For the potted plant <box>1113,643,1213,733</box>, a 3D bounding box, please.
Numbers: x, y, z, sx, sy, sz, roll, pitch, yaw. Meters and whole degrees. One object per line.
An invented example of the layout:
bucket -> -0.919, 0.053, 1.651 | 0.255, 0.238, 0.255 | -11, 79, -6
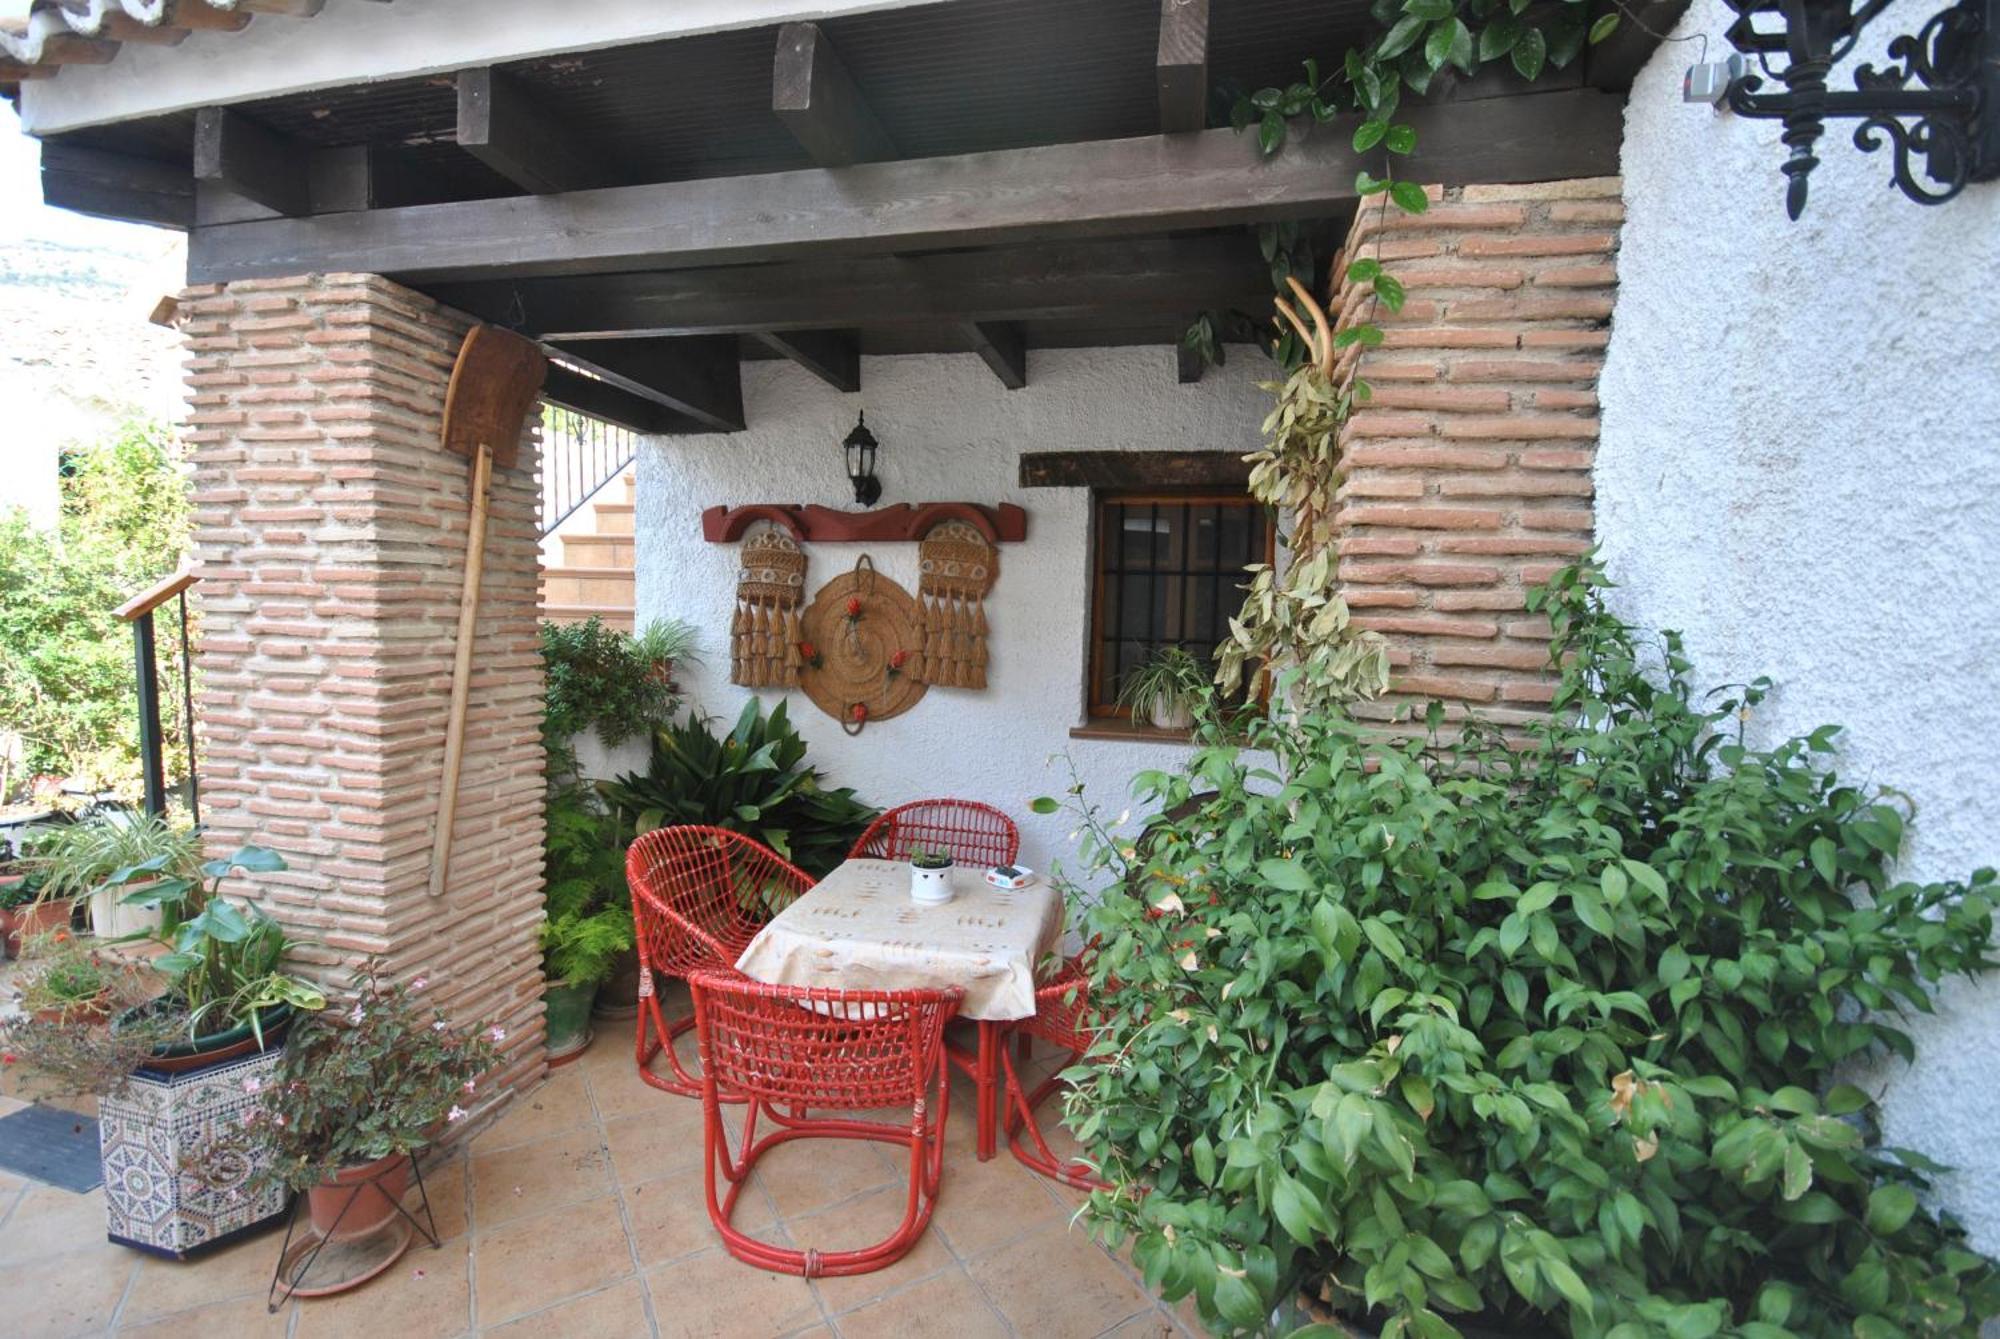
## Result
potted plant -> 0.675, 0.081, 5.536 | 0.377, 0.261, 0.361 | 4, 5, 36

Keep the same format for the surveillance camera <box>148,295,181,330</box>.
surveillance camera -> -2.813, -1.211, 4.605 | 0.081, 0.098, 0.220 | 1, 2, -34

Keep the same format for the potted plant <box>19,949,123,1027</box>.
potted plant -> -3.097, 1.036, 4.550 | 0.337, 0.177, 0.335 | 5, -2, -41

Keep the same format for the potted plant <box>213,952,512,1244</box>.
potted plant -> -1.962, 1.286, 4.411 | 0.780, 0.799, 0.835 | 3, 0, 16

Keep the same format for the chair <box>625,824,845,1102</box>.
chair -> -0.932, 1.012, 4.899 | 0.660, 0.797, 0.789 | -4, 6, 27

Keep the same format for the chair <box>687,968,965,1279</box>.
chair -> -0.450, 1.325, 4.537 | 0.909, 0.963, 0.936 | 2, 8, 2

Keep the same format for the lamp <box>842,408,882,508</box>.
lamp -> -0.605, -0.924, 5.929 | 0.181, 0.422, 0.274 | 3, 2, 2

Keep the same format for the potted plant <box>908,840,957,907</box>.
potted plant -> -0.232, 0.745, 4.845 | 0.149, 0.157, 0.178 | 0, -1, -4

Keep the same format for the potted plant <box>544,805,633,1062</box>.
potted plant -> -1.621, 1.010, 5.392 | 0.343, 0.891, 0.639 | 2, 2, -17
